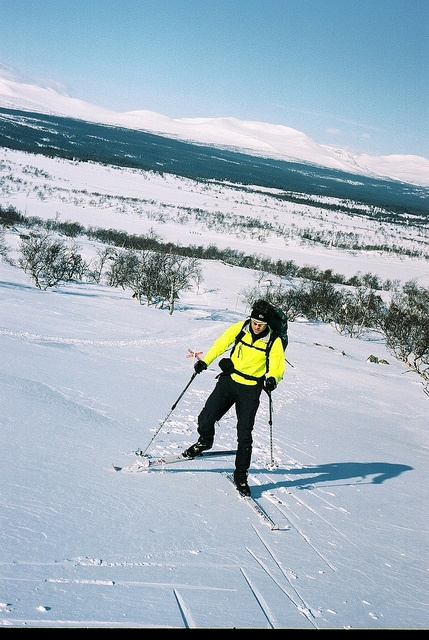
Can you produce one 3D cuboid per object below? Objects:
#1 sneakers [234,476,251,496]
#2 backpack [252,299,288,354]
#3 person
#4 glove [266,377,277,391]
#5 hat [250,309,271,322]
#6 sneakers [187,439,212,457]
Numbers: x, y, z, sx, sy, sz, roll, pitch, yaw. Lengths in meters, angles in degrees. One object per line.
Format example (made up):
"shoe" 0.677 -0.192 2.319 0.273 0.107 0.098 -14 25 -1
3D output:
"sneakers" 0.310 1.836 7.539 0.080 0.099 0.236 29 7 -22
"backpack" 0.622 0.057 7.659 0.362 0.532 0.620 14 3 28
"person" 0.258 0.807 7.743 0.970 2.126 0.597 14 2 24
"glove" 0.596 0.700 7.425 0.089 0.159 0.130 12 2 -19
"hat" 0.506 -0.058 7.488 0.217 0.184 0.193 13 2 5
"sneakers" -0.176 1.521 8.075 0.415 0.133 0.173 -17 -12 4
